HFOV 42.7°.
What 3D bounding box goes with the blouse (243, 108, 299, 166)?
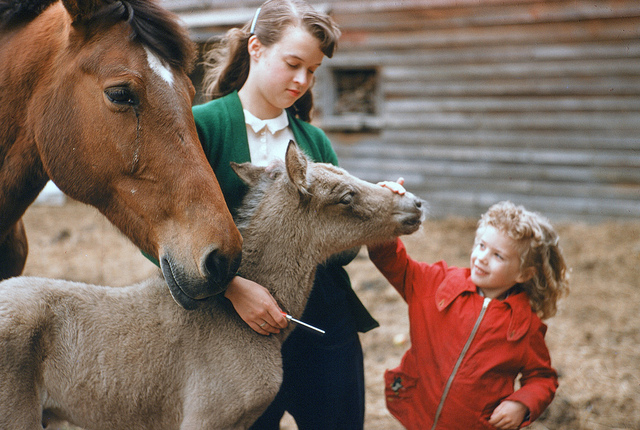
[{"bbox_3d":[-0.366,-0.615,6.656,0.496,0.418,0.323,17,11,-4],"label":"blouse"}]
